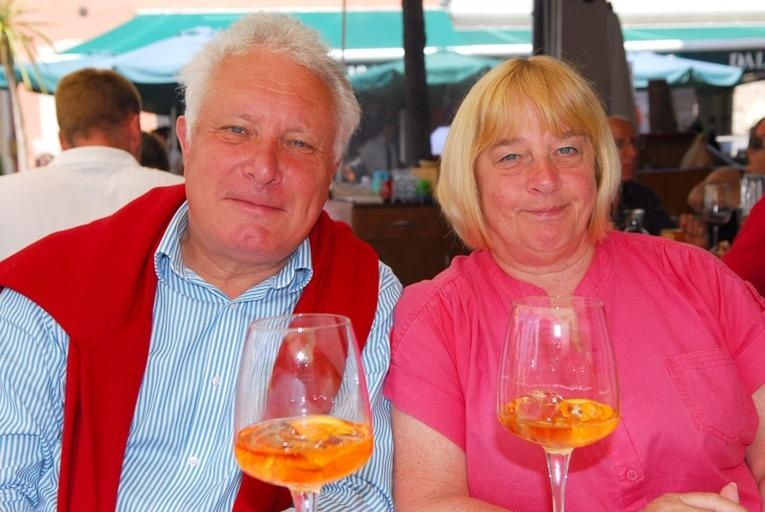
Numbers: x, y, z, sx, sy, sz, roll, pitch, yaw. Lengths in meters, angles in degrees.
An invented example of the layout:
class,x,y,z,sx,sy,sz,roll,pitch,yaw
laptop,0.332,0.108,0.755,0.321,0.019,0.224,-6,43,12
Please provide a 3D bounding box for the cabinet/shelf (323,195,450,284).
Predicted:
class,x,y,z,sx,sy,sz,roll,pitch,yaw
cabinet/shelf,0.049,-0.181,5.481,0.876,0.779,0.583,-2,11,-10
